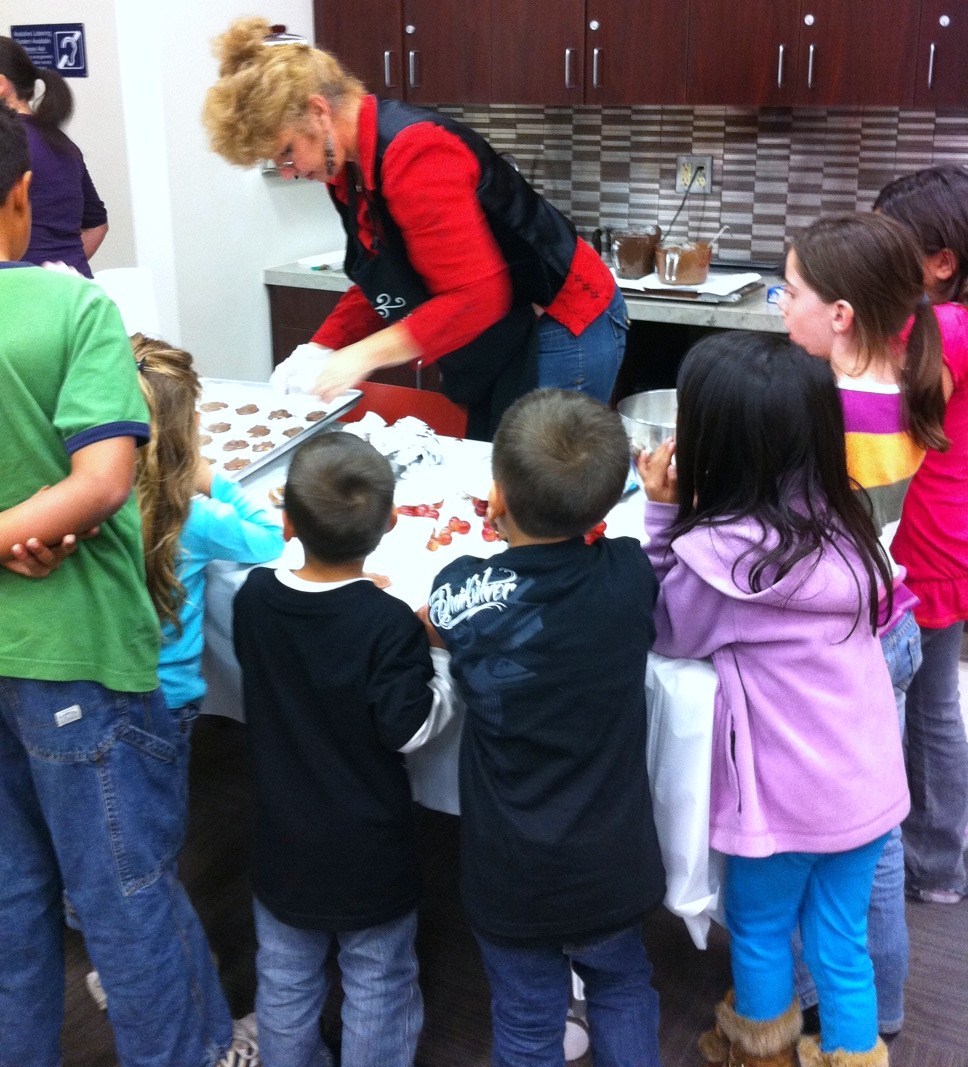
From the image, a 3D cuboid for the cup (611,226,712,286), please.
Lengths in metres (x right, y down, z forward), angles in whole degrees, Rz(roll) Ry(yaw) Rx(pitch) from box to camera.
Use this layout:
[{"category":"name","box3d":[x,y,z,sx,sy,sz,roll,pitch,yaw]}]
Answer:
[{"category":"cup","box3d":[0.562,-0.858,3.168,0.292,0.137,0.193,10,22,31]}]
